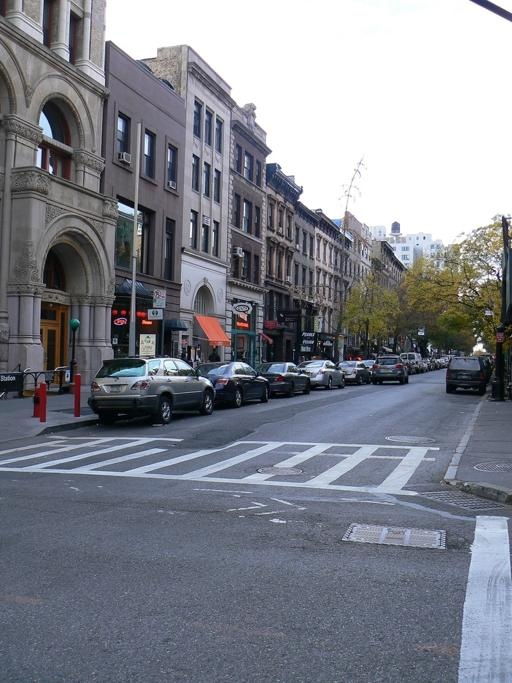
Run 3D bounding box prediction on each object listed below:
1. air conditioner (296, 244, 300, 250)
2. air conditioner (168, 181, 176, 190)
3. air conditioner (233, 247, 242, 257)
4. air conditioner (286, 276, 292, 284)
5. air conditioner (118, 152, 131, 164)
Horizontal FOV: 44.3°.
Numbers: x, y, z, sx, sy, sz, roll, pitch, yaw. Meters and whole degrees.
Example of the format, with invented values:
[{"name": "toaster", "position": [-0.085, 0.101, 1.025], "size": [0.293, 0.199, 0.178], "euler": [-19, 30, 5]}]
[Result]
[{"name": "air conditioner", "position": [3.758, -8.391, 55.233], "size": [0.336, 0.710, 0.695], "euler": [0, 0, 16]}, {"name": "air conditioner", "position": [-4.398, -8.199, 33.066], "size": [0.274, 0.543, 0.591], "euler": [-2, -4, 22]}, {"name": "air conditioner", "position": [-1.209, -5.815, 42.231], "size": [0.435, 0.894, 0.885], "euler": [0, -2, 18]}, {"name": "air conditioner", "position": [2.812, -5.216, 53.571], "size": [0.257, 0.833, 1.743], "euler": [0, -2, 14]}, {"name": "air conditioner", "position": [-5.929, -8.230, 28.403], "size": [0.376, 0.604, 0.773], "euler": [-1, -3, 19]}]
